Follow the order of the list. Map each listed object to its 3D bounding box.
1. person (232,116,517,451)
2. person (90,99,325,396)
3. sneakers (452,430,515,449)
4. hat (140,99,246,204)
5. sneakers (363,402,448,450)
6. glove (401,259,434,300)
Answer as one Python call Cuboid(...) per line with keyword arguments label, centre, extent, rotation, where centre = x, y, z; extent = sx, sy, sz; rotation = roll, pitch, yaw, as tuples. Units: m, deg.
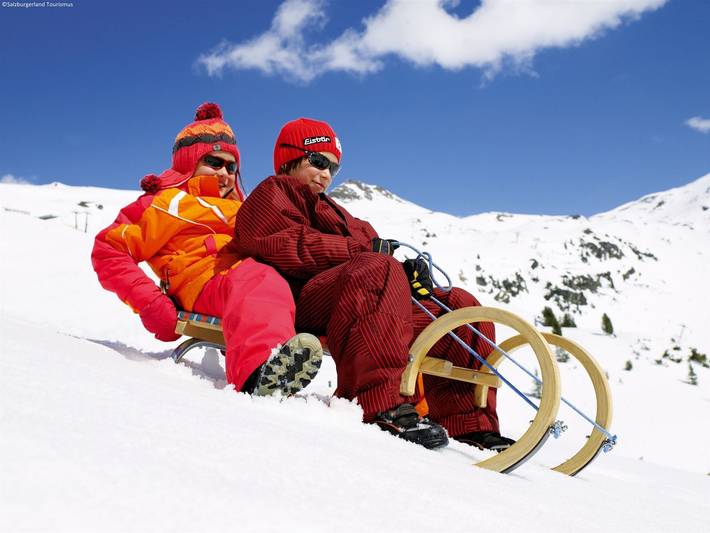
Cuboid(label="person", centre=(0.084, 0.015, 2.949), extent=(1.437, 1.764, 1.062), rotation=(-4, -16, 33))
Cuboid(label="person", centre=(-0.651, -0.095, 2.885), extent=(1.066, 1.529, 0.956), rotation=(-2, 1, 37))
Cuboid(label="sneakers", centre=(0.625, 0.833, 2.715), extent=(0.184, 0.069, 0.236), rotation=(9, -8, -44))
Cuboid(label="hat", centre=(-1.010, -0.707, 3.501), extent=(0.610, 0.565, 0.592), rotation=(1, -5, -39))
Cuboid(label="sneakers", centre=(0.210, 0.630, 2.225), extent=(0.246, 0.106, 0.177), rotation=(19, 0, 34))
Cuboid(label="glove", centre=(0.291, 0.060, 2.635), extent=(0.148, 0.205, 0.134), rotation=(7, 11, 5))
